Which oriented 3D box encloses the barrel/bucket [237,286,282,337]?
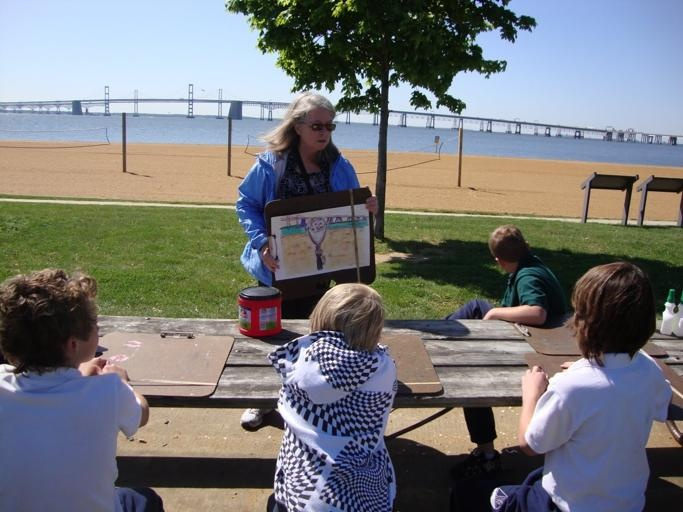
[{"bbox_3d":[-0.522,0.332,4.623,0.265,0.261,0.286,1,6,0],"label":"barrel/bucket"}]

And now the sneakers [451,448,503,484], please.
[{"bbox_3d":[0.881,1.363,4.834,0.345,0.219,0.184,0,1,4],"label":"sneakers"}]
